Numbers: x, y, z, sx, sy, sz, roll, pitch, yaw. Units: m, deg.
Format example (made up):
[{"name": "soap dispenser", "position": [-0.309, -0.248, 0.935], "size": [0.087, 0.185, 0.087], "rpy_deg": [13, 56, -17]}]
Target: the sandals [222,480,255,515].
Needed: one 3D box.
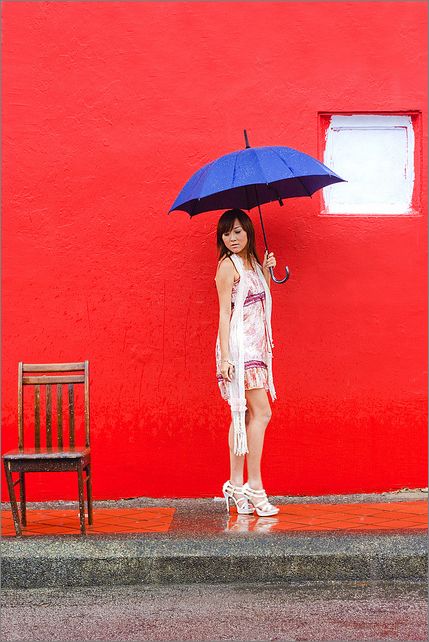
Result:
[{"name": "sandals", "position": [0.147, 1.096, 5.781], "size": [0.257, 0.224, 0.110], "rpy_deg": [9, 0, 22]}]

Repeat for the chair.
[{"name": "chair", "position": [-1.005, 0.738, 5.707], "size": [0.519, 0.989, 1.095], "rpy_deg": [0, 3, -8]}]

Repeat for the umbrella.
[{"name": "umbrella", "position": [0.245, -0.741, 5.660], "size": [0.947, 0.934, 0.948], "rpy_deg": [-22, 9, 8]}]

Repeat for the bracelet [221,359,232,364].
[{"name": "bracelet", "position": [0.076, 0.244, 5.502], "size": [0.064, 0.037, 0.041], "rpy_deg": [0, 3, -5]}]
